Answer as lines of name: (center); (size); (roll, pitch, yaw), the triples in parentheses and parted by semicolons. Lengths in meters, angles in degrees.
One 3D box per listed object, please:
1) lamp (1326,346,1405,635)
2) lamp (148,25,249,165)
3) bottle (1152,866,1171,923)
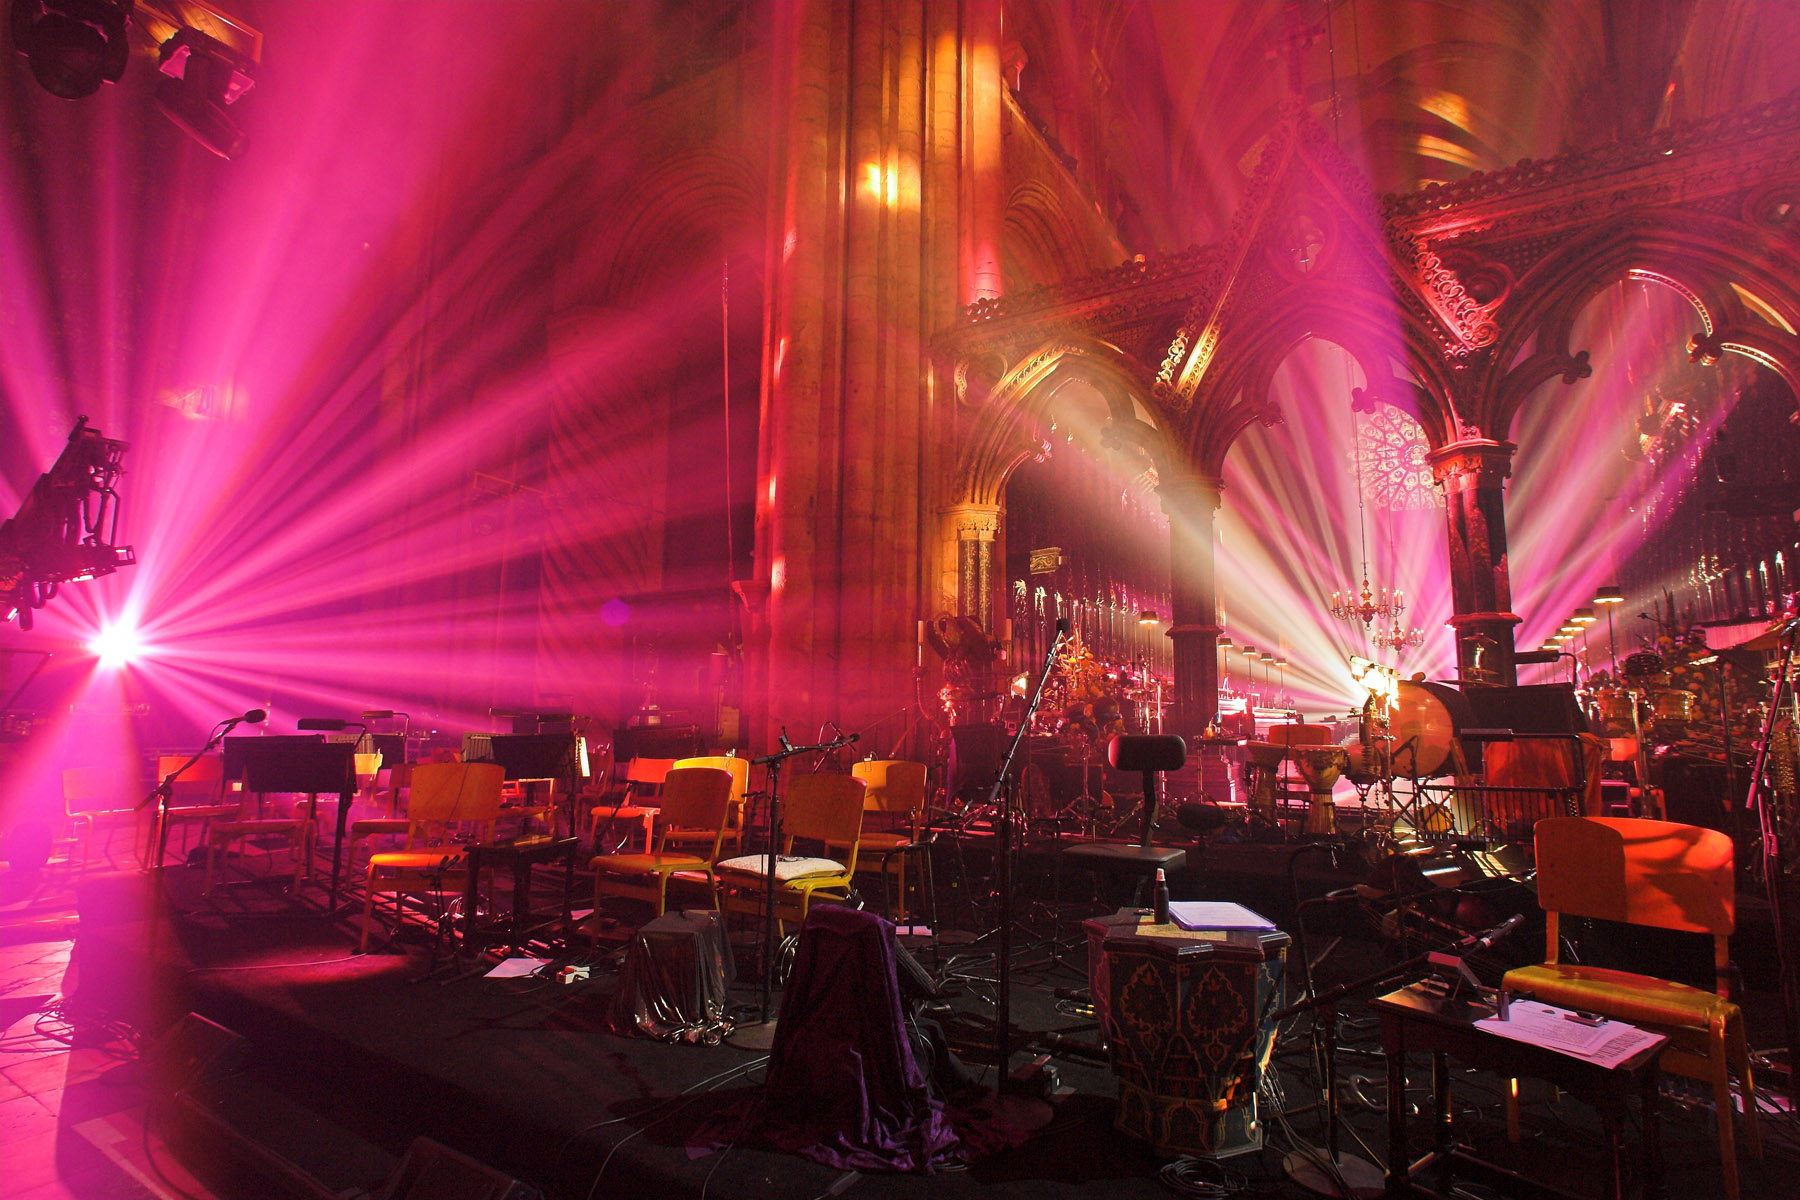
lamp: (11.131, -1.945, 29.104); (1.277, 5.853, 1.249); (1, 9, -42)
lamp: (-9.383, -6.798, 16.742); (1.127, 1.373, 0.879); (8, -17, -26)
bottle: (2.469, 2.803, 11.877); (0.151, 0.461, 0.341); (-2, -15, 11)
